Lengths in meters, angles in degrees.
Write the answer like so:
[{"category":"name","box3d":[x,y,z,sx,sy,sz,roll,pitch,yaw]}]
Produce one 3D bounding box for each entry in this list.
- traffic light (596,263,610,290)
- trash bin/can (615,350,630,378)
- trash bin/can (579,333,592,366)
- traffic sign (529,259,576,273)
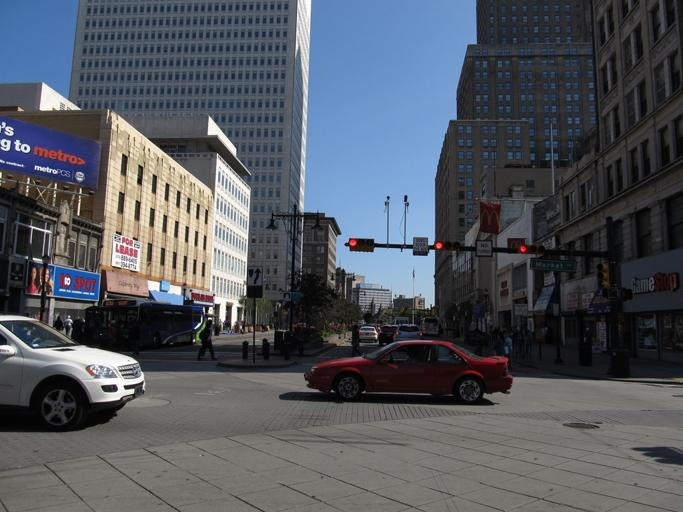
[{"category":"traffic light","box3d":[11.491,0.884,27.005,0.483,1.237,0.586,-3,-10,24]},{"category":"trash bin/can","box3d":[11.072,4.252,24.388,0.559,1.057,1.055,-3,-11,24]},{"category":"trash bin/can","box3d":[11.714,4.622,29.708,0.511,1.326,0.751,1,-10,1]},{"category":"traffic sign","box3d":[10.307,0.407,30.103,2.039,0.649,0.968,4,-11,-16]}]
